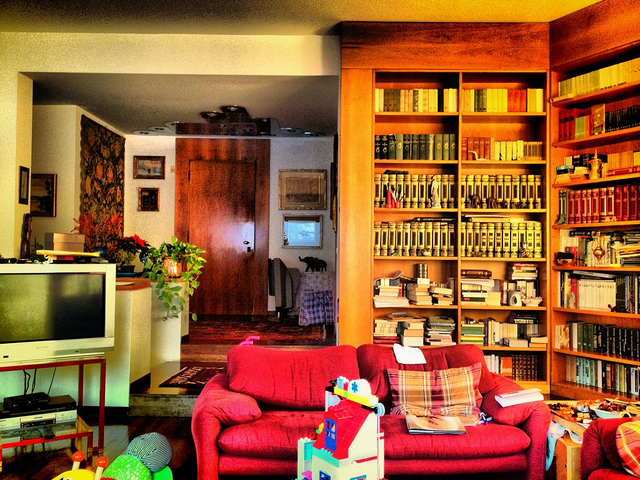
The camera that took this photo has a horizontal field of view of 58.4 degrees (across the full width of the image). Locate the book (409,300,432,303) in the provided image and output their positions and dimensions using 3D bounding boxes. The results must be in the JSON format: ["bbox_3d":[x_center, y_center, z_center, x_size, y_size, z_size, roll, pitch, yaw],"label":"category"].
[{"bbox_3d":[0.993,0.605,5.653,0.206,0.023,0.071,-1,-3,17],"label":"book"}]

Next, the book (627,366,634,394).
[{"bbox_3d":[2.801,1.266,5.166,0.048,0.247,0.018,-2,-4,27],"label":"book"}]

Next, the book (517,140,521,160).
[{"bbox_3d":[1.973,-0.898,5.669,0.032,0.185,0.017,0,-3,3],"label":"book"}]

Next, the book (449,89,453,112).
[{"bbox_3d":[1.289,-1.389,5.630,0.034,0.208,0.023,0,-3,-2],"label":"book"}]

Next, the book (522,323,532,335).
[{"bbox_3d":[2.058,0.887,5.652,0.102,0.094,0.027,3,-2,-2],"label":"book"}]

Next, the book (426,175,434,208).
[{"bbox_3d":[1.088,-0.493,5.677,0.072,0.321,0.035,-1,-3,10],"label":"book"}]

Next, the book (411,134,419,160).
[{"bbox_3d":[0.943,-0.927,5.658,0.081,0.245,0.014,0,-3,-3],"label":"book"}]

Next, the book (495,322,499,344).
[{"bbox_3d":[1.745,0.919,5.641,0.048,0.210,0.016,1,-4,-27],"label":"book"}]

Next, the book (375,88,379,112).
[{"bbox_3d":[0.560,-1.382,5.632,0.039,0.230,0.038,-1,-3,5],"label":"book"}]

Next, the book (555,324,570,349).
[{"bbox_3d":[2.345,0.932,5.542,0.143,0.223,0.030,0,-3,-13],"label":"book"}]

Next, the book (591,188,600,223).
[{"bbox_3d":[2.581,-0.327,5.355,0.072,0.321,0.042,-2,-4,25],"label":"book"}]

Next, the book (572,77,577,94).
[{"bbox_3d":[2.426,-1.480,5.449,0.039,0.154,0.010,-2,-4,22],"label":"book"}]

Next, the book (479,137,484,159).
[{"bbox_3d":[1.599,-0.910,5.657,0.046,0.202,0.016,1,-3,-14],"label":"book"}]

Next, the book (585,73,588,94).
[{"bbox_3d":[2.508,-1.483,5.387,0.027,0.183,0.006,-3,-4,39],"label":"book"}]

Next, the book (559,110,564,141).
[{"bbox_3d":[2.359,-1.133,5.582,0.049,0.305,0.024,-3,-5,41],"label":"book"}]

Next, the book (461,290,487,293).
[{"bbox_3d":[1.523,0.504,5.637,0.253,0.027,0.056,1,-3,-16],"label":"book"}]

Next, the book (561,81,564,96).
[{"bbox_3d":[2.345,-1.481,5.526,0.010,0.131,0.029,2,-4,-28],"label":"book"}]

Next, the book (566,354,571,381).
[{"bbox_3d":[2.406,1.238,5.539,0.049,0.246,0.017,-3,-4,40],"label":"book"}]

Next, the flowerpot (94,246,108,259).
[{"bbox_3d":[-2.359,0.137,6.143,0.158,0.153,0.143,-2,-3,39],"label":"flowerpot"}]

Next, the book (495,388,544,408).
[{"bbox_3d":[1.465,1.159,4.202,0.222,0.051,0.156,-5,-1,-6],"label":"book"}]

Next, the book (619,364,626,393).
[{"bbox_3d":[2.753,1.261,5.210,0.019,0.247,0.052,2,-4,-36],"label":"book"}]

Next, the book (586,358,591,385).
[{"bbox_3d":[2.543,1.254,5.414,0.042,0.178,0.181,1,-2,15],"label":"book"}]

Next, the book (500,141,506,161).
[{"bbox_3d":[1.819,-0.890,5.677,0.059,0.197,0.030,1,-3,-14],"label":"book"}]

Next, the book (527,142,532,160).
[{"bbox_3d":[2.083,-0.893,5.683,0.047,0.176,0.027,2,-4,-29],"label":"book"}]

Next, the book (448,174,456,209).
[{"bbox_3d":[1.311,-0.488,5.681,0.076,0.320,0.028,-1,-3,12],"label":"book"}]

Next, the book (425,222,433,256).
[{"bbox_3d":[1.078,-0.024,5.667,0.081,0.312,0.023,1,-4,-17],"label":"book"}]

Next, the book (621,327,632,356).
[{"bbox_3d":[2.797,0.938,5.256,0.031,0.250,0.052,2,-4,-32],"label":"book"}]

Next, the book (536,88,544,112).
[{"bbox_3d":[2.166,-1.382,5.626,0.076,0.216,0.027,0,-3,-11],"label":"book"}]

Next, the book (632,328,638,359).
[{"bbox_3d":[2.859,0.947,5.188,0.046,0.259,0.031,-3,-4,37],"label":"book"}]

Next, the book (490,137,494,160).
[{"bbox_3d":[1.706,-0.911,5.673,0.051,0.212,0.017,1,-4,-21],"label":"book"}]

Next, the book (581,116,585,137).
[{"bbox_3d":[2.492,-1.084,5.423,0.032,0.190,0.012,-3,-4,39],"label":"book"}]

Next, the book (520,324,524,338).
[{"bbox_3d":[2.003,0.902,5.671,0.037,0.131,0.016,-1,-3,8],"label":"book"}]

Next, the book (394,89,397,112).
[{"bbox_3d":[0.746,-1.390,5.646,0.026,0.200,0.028,-1,-3,5],"label":"book"}]

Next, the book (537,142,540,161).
[{"bbox_3d":[2.167,-0.892,5.674,0.021,0.176,0.037,-2,-4,23],"label":"book"}]

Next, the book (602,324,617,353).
[{"bbox_3d":[2.668,0.919,5.380,0.184,0.242,0.251,-1,-3,17],"label":"book"}]

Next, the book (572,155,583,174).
[{"bbox_3d":[2.464,-0.760,5.477,0.023,0.096,0.095,2,4,-33],"label":"book"}]

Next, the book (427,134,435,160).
[{"bbox_3d":[1.091,-0.928,5.660,0.125,0.223,0.231,0,4,5],"label":"book"}]

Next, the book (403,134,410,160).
[{"bbox_3d":[0.852,-0.925,5.651,0.064,0.243,0.033,-1,-3,7],"label":"book"}]

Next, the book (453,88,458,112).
[{"bbox_3d":[1.333,-1.383,5.631,0.045,0.233,0.030,-1,-3,5],"label":"book"}]

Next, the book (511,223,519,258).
[{"bbox_3d":[1.922,-0.007,5.634,0.080,0.329,0.027,1,-3,-13],"label":"book"}]

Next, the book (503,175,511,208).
[{"bbox_3d":[1.853,-0.485,5.642,0.089,0.321,0.023,0,-3,2],"label":"book"}]

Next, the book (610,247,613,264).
[{"bbox_3d":[2.728,0.143,5.354,0.012,0.153,0.025,1,-4,-25],"label":"book"}]

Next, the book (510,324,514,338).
[{"bbox_3d":[1.900,0.900,5.659,0.040,0.131,0.016,0,-3,-2],"label":"book"}]
